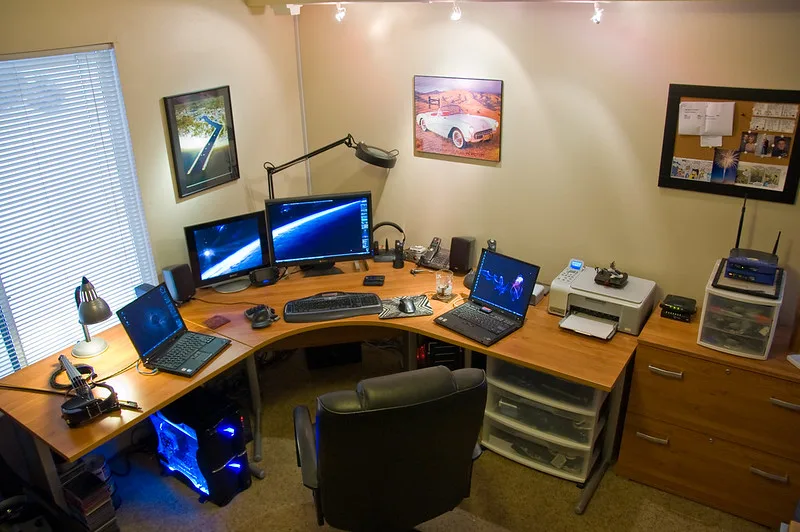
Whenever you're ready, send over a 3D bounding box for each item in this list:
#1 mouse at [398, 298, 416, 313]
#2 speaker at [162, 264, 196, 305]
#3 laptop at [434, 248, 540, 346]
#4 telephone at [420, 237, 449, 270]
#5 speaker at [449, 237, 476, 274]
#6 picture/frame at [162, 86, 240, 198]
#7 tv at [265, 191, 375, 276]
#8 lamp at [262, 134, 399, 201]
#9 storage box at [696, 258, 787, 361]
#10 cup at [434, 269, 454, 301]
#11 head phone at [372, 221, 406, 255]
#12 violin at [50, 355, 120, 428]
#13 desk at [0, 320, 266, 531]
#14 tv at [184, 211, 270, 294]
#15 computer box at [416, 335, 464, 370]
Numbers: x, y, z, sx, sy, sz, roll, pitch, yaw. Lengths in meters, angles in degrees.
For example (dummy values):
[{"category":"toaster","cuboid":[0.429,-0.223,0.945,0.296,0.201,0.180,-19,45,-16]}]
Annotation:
[{"category":"mouse","cuboid":[0.046,0.286,4.188,0.104,0.111,0.092,0,12,3]},{"category":"speaker","cuboid":[-1.595,0.124,4.160,0.158,0.288,0.180,8,29,30]},{"category":"laptop","cuboid":[0.593,0.212,4.003,0.481,0.487,0.498,20,26,40]},{"category":"telephone","cuboid":[0.282,-0.074,4.687,0.223,0.075,0.256,11,58,13]},{"category":"speaker","cuboid":[0.483,-0.079,4.558,0.177,0.302,0.188,13,31,22]},{"category":"picture/frame","cuboid":[-1.482,-0.925,4.258,0.034,0.796,0.705,20,33,32]},{"category":"tv","cuboid":[-0.631,-0.241,4.510,0.650,0.449,0.171,-7,24,-7]},{"category":"lamp","cuboid":[-0.569,-0.815,4.791,1.097,0.575,0.610,3,19,2]},{"category":"storage box","cuboid":[2.066,0.217,3.762,0.448,0.603,0.606,10,24,25]},{"category":"cup","cuboid":[0.338,0.140,4.380,0.194,0.234,0.187,-1,25,0]},{"category":"head phone","cuboid":[-0.087,-0.236,4.892,0.292,0.292,0.102,-3,34,6]},{"category":"violin","cuboid":[-1.881,0.706,3.410,0.413,0.126,0.247,43,37,20]},{"category":"desk","cuboid":[-1.755,1.217,3.922,1.181,0.978,1.327,23,38,29]},{"category":"tv","cuboid":[-1.320,-0.102,4.363,0.540,0.449,0.117,-18,27,-24]},{"category":"computer box","cuboid":[0.320,0.619,4.483,0.313,0.415,0.229,4,22,11]}]
